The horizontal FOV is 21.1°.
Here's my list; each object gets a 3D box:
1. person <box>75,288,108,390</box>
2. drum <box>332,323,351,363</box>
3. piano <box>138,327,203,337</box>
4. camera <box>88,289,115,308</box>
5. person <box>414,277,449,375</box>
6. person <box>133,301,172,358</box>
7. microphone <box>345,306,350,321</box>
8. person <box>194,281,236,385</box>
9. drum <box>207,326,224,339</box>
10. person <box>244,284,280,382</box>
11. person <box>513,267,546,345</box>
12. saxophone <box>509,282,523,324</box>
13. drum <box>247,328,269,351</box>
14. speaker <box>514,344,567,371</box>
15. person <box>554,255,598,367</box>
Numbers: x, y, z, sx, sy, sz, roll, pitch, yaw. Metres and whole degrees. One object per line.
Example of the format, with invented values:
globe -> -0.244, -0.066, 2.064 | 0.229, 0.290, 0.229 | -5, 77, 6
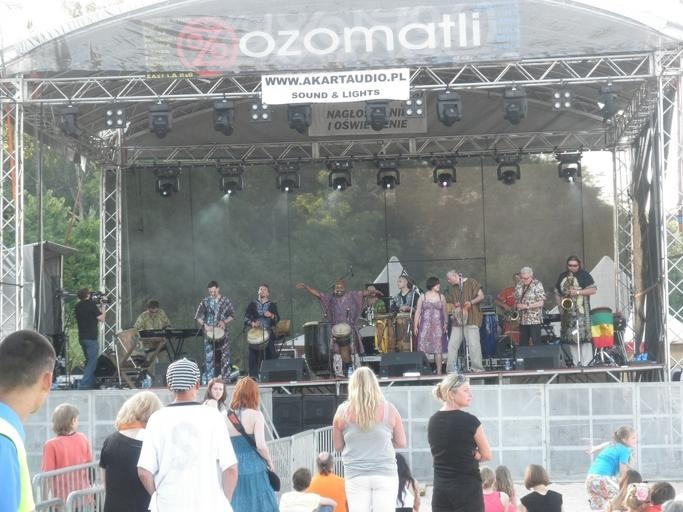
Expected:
person -> -4.970, 1.600, 36.356 | 0.676, 1.988, 0.688 | -3, 6, -24
drum -> 0.031, 1.700, 36.116 | 0.333, 0.788, 0.477 | -4, -5, 30
piano -> -3.340, 1.472, 35.989 | 0.729, 0.180, 1.146 | -5, -5, 36
camera -> -4.815, 0.827, 36.528 | 0.570, 0.255, 0.331 | 6, 0, -2
person -> 1.681, 1.322, 35.283 | 0.613, 1.819, 0.551 | -2, -4, 3
person -> -3.902, 1.462, 37.796 | 0.699, 1.160, 0.597 | -1, 3, 2
microphone -> 0.098, 1.129, 36.440 | 0.087, 0.280, 0.061 | -2, -4, -2
person -> -2.501, 1.488, 36.644 | 0.765, 2.134, 0.684 | -3, 2, -33
drum -> -2.508, 1.500, 36.415 | 0.392, 0.247, 0.224 | -2, -4, 3
person -> -1.605, 1.538, 36.783 | 0.706, 1.871, 0.593 | 1, 6, 0
person -> 3.609, 0.979, 35.686 | 0.563, 1.494, 0.923 | -3, -4, 5
saxophone -> 3.405, 0.872, 36.012 | 0.316, 0.833, 0.199 | -22, -32, 39
drum -> -1.692, 1.624, 36.283 | 0.428, 0.253, 0.414 | 1, -2, 0
speaker -> 3.639, 1.888, 34.470 | 0.706, 0.416, 0.516 | -1, 1, 12
person -> 4.319, 1.042, 35.099 | 0.716, 2.141, 0.662 | 1, 2, 30
